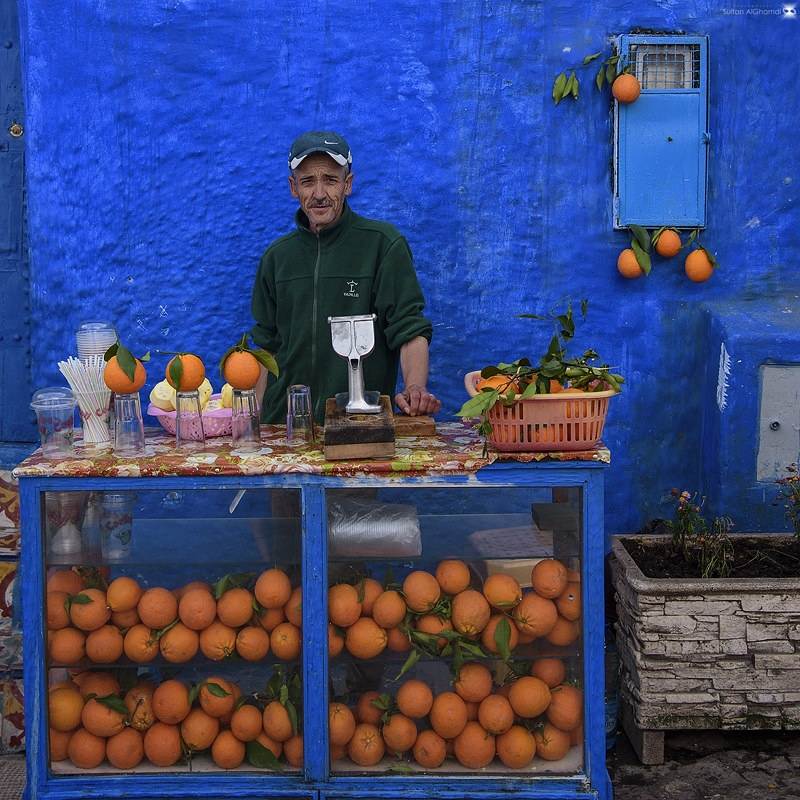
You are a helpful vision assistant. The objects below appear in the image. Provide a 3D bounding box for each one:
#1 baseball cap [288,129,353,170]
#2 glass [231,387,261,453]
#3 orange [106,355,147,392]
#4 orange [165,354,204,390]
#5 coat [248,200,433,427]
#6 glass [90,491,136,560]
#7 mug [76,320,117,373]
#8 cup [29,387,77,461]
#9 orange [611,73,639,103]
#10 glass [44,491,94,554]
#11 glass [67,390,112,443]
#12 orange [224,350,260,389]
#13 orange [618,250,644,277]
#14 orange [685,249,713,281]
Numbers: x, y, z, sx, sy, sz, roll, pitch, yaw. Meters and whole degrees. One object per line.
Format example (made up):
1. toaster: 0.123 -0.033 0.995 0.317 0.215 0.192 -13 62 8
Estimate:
1. baseball cap: -0.281 -0.915 4.144 0.239 0.131 0.183 -6 11 -17
2. glass: -0.537 0.067 3.895 0.105 0.217 0.109 -4 6 -14
3. orange: -0.916 -0.096 3.828 0.114 0.147 0.116 0 7 8
4. orange: -0.726 -0.094 3.822 0.121 0.142 0.132 -5 11 -14
5. coat: -0.223 -0.317 4.319 0.866 1.122 0.381 0 2 4
6. glass: -0.961 0.422 3.824 0.142 0.205 0.136 -6 11 -34
7. mug: -1.093 -0.197 4.075 0.158 0.191 0.166 -1 2 -11
8. cup: -1.197 0.075 3.917 0.193 0.274 0.181 0 10 0
9. orange: 0.970 -1.327 4.827 0.124 0.124 0.105 -1 11 6
10. glass: -1.128 0.388 3.820 0.173 0.261 0.182 -1 5 -28
11. glass: -1.061 0.058 3.948 0.149 0.203 0.155 -7 12 -31
12. orange: -0.521 -0.116 3.829 0.110 0.141 0.116 -8 12 -6
13. orange: 1.000 -0.612 4.955 0.107 0.141 0.112 6 17 19
14. orange: 1.290 -0.579 4.894 0.125 0.164 0.122 -6 6 -38
